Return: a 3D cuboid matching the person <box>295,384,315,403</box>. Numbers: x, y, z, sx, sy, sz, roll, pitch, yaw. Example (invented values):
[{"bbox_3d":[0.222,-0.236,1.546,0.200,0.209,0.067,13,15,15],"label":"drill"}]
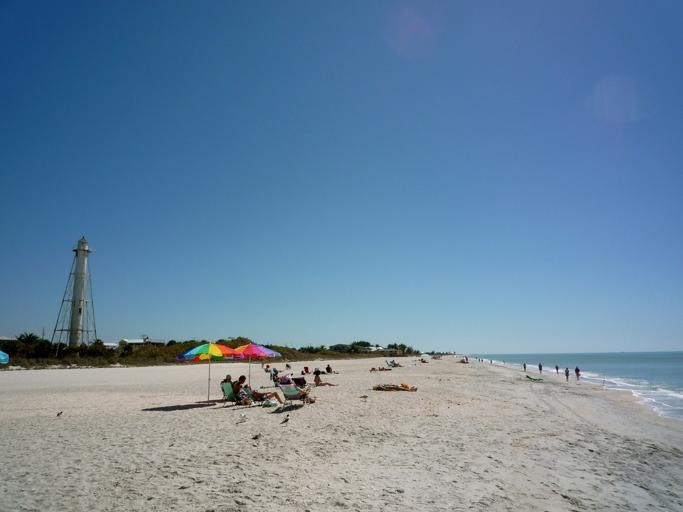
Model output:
[{"bbox_3d":[-1.599,6.311,21.346,0.540,0.732,1.789,1,-6,-2],"label":"person"}]
